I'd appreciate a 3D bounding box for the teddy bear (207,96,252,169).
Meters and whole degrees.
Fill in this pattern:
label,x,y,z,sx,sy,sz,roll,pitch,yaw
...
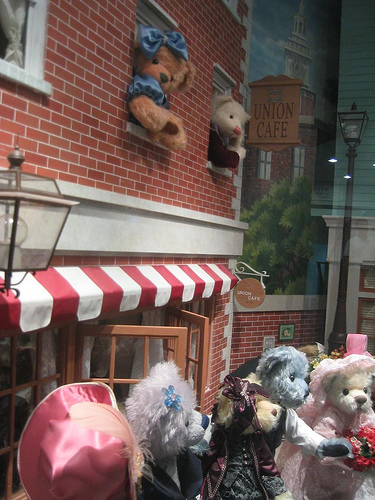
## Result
label,x,y,z,sx,sy,sz,roll,pitch,yaw
teddy bear,0.551,-1.656,5.477,0.494,0.995,0.532,5,0,5

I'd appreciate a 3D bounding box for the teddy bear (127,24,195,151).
label,x,y,z,sx,sy,sz,roll,pitch,yaw
teddy bear,-0.247,-1.514,3.615,0.350,1.094,0.711,5,0,40

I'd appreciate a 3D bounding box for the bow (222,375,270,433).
label,x,y,z,sx,sy,sz,roll,pitch,yaw
bow,0.354,0.957,2.422,0.347,0.091,0.337,0,43,-24

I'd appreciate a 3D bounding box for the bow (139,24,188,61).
label,x,y,z,sx,sy,sz,roll,pitch,yaw
bow,-0.201,-1.823,3.481,0.527,0.328,0.100,5,0,-39
